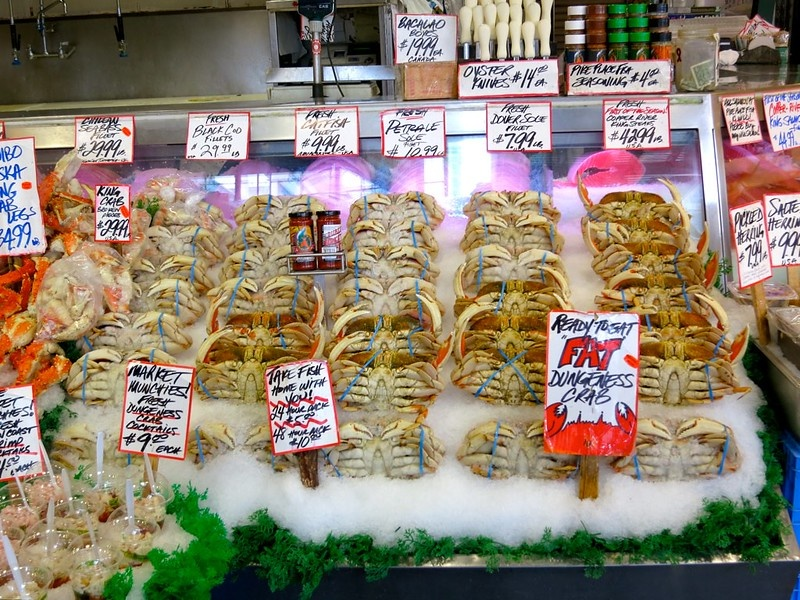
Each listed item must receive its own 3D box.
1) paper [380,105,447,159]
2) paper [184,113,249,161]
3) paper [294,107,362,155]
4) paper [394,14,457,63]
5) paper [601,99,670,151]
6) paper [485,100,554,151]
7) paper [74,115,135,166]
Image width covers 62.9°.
[{"bbox_3d":[0.074,-0.904,3.481,0.268,0.204,0.029,-1,4,5],"label":"paper"},{"bbox_3d":[-0.986,-0.888,3.526,0.240,0.184,0.025,-1,5,7],"label":"paper"},{"bbox_3d":[-0.386,-0.910,3.498,0.250,0.194,0.029,1,0,3],"label":"paper"},{"bbox_3d":[0.132,-1.390,3.449,0.281,0.216,0.028,2,36,-1],"label":"paper"},{"bbox_3d":[1.261,-0.941,3.469,0.254,0.196,0.027,-1,5,6],"label":"paper"},{"bbox_3d":[0.635,-0.934,3.461,0.258,0.197,0.030,-1,5,5],"label":"paper"},{"bbox_3d":[-1.608,-0.874,3.536,0.296,0.264,0.035,0,4,3],"label":"paper"}]
